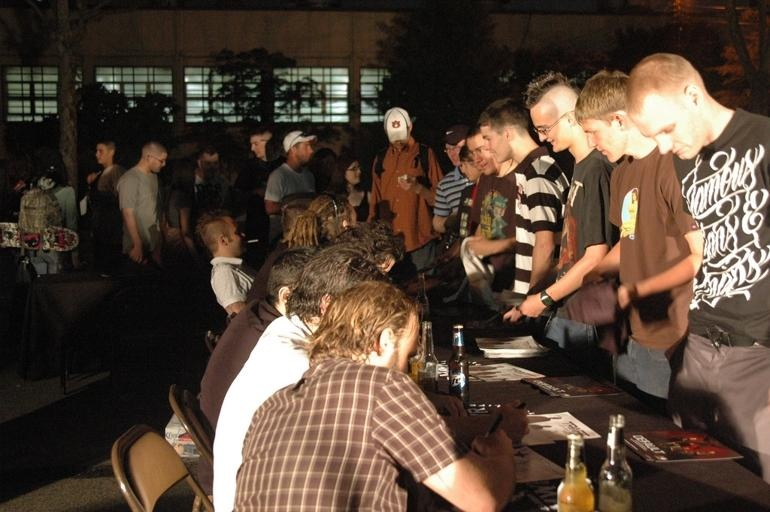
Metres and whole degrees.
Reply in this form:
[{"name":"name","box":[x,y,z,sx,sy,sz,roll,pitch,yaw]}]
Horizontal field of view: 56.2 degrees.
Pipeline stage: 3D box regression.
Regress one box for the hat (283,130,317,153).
[{"name":"hat","box":[-0.731,-0.978,6.062,0.206,0.111,0.144,-19,13,4]}]

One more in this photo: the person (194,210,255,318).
[{"name":"person","box":[-1.154,0.067,5.239,0.274,0.783,0.417,-22,46,-2]}]

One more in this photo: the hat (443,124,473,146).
[{"name":"hat","box":[0.576,-0.971,5.767,0.178,0.096,0.128,-32,17,-25]}]

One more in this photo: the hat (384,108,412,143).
[{"name":"hat","box":[0.096,-1.057,5.886,0.194,0.291,0.154,1,21,12]}]

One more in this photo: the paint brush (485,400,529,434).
[{"name":"paint brush","box":[0.534,0.710,3.155,0.046,0.070,0.247,22,26,32]}]

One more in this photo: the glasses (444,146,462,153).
[{"name":"glasses","box":[0.542,-0.864,5.813,0.087,0.041,0.063,-14,20,-41]}]

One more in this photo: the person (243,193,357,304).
[{"name":"person","box":[-0.489,-0.041,4.050,0.322,0.298,0.750,9,-41,-42]}]

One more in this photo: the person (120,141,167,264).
[{"name":"person","box":[-2.068,-0.455,6.191,0.411,1.017,0.131,-4,9,-20]}]
